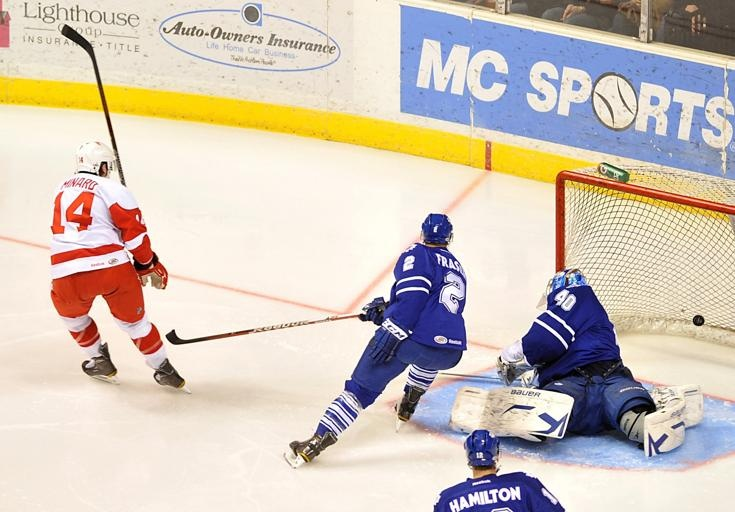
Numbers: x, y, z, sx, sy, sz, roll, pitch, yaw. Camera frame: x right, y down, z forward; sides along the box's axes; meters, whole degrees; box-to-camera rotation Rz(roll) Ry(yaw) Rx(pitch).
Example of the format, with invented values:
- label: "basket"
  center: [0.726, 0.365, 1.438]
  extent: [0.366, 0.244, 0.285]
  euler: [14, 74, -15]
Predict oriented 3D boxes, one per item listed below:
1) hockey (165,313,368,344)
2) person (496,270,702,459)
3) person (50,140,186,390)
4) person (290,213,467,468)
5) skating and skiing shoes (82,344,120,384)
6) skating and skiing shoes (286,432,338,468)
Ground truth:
- label: "hockey"
  center: [-0.623, 0.434, 6.040]
  extent: [1.342, 0.122, 0.163]
  euler: [-6, 11, -3]
- label: "person"
  center: [1.321, 0.622, 5.694]
  extent: [1.132, 0.964, 1.191]
  euler: [-2, 12, 12]
- label: "person"
  center: [-1.522, 0.068, 5.776]
  extent: [0.795, 1.438, 0.548]
  euler: [2, 21, -8]
- label: "person"
  center: [0.226, 0.428, 5.315]
  extent: [0.972, 1.408, 1.171]
  euler: [11, 27, 11]
- label: "skating and skiing shoes"
  center: [-1.668, 0.678, 5.909]
  extent: [0.288, 0.247, 0.100]
  euler: [21, 33, 21]
- label: "skating and skiing shoes"
  center: [-0.317, 1.057, 5.215]
  extent: [0.250, 0.095, 0.184]
  euler: [-22, 27, -4]
